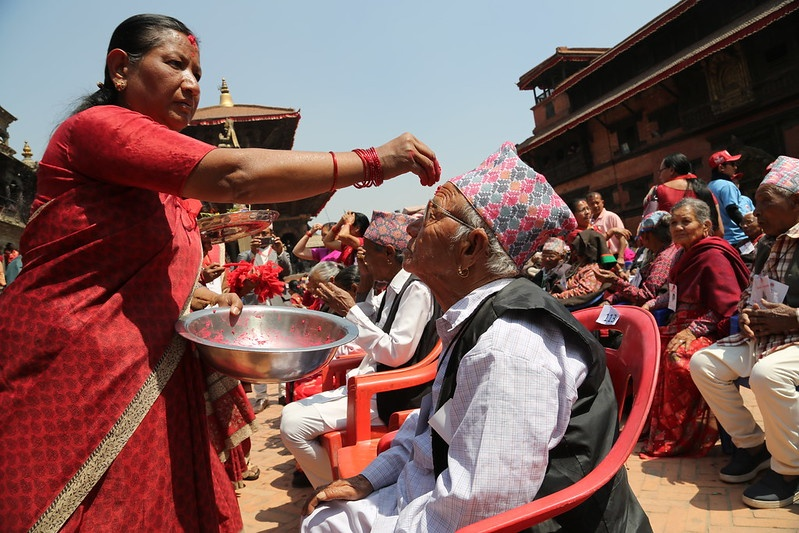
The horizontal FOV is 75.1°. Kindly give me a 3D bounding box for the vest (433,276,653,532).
[{"bbox_3d":[0.730,0.714,2.785,1.030,1.378,1.043,7,-14,-42],"label":"vest"}]

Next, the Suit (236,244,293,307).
[{"bbox_3d":[-2.180,0.147,8.647,1.152,1.029,1.548,1,0,-10],"label":"Suit"}]

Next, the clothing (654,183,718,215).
[{"bbox_3d":[3.336,-0.823,6.170,0.539,0.300,0.712,4,-8,-18],"label":"clothing"}]

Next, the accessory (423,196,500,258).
[{"bbox_3d":[0.299,-0.199,2.480,0.283,0.085,0.271,26,7,-8],"label":"accessory"}]

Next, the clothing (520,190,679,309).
[{"bbox_3d":[2.307,-0.083,5.925,1.384,0.930,1.006,1,-5,-11],"label":"clothing"}]

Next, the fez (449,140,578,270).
[{"bbox_3d":[0.531,-0.188,2.724,0.614,0.703,0.280,-36,6,-20],"label":"fez"}]

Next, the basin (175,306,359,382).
[{"bbox_3d":[-0.672,0.372,2.678,0.558,0.167,0.531,7,6,-1],"label":"basin"}]

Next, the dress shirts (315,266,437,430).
[{"bbox_3d":[-0.024,0.536,3.929,1.064,1.417,1.075,6,-18,-8],"label":"dress shirts"}]

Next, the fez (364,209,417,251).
[{"bbox_3d":[-0.080,-0.325,4.767,0.527,0.323,0.533,4,-1,20],"label":"fez"}]
